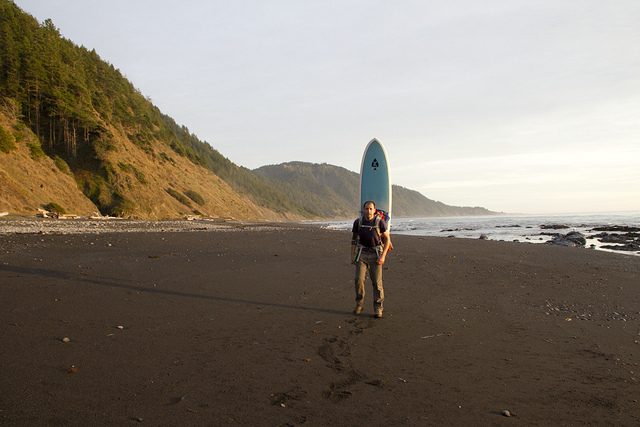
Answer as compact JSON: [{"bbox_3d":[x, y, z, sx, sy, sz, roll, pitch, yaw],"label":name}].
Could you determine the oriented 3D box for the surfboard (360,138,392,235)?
[{"bbox_3d":[2.566,-1.087,19.513,1.391,6.324,0.934,6,-40,3],"label":"surfboard"}]

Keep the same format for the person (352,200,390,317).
[{"bbox_3d":[1.231,1.144,10.230,0.901,2.797,1.335,3,15,6],"label":"person"}]

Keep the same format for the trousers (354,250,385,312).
[{"bbox_3d":[1.248,1.718,10.135,0.796,1.570,0.721,9,16,27],"label":"trousers"}]
